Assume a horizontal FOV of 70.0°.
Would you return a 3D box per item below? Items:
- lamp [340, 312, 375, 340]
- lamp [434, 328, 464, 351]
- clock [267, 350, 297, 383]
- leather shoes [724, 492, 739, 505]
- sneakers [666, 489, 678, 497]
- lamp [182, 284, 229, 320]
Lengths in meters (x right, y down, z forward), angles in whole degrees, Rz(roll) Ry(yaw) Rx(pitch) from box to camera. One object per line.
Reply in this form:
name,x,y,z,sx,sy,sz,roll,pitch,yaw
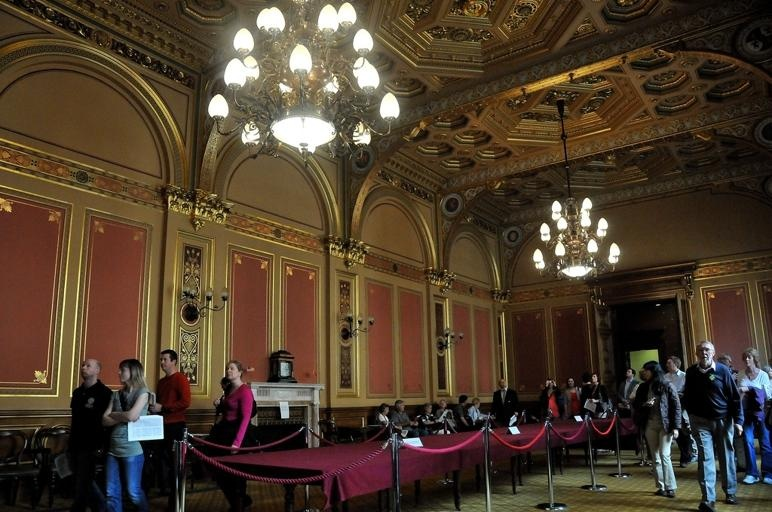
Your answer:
lamp,-0.740,1.714,13.181,0.628,0.847,0.641,-9,-18,32
lamp,1.736,2.394,15.835,0.685,0.907,0.643,-9,-19,37
clock,-2.123,2.302,11.480,0.636,0.812,0.600,6,-17,-29
leather shoes,5.095,3.569,8.145,0.096,0.098,0.225,-5,-10,32
sneakers,4.477,3.715,8.665,0.076,0.101,0.232,-5,-26,24
lamp,-3.518,0.933,10.591,0.634,0.839,0.571,-7,-15,26
